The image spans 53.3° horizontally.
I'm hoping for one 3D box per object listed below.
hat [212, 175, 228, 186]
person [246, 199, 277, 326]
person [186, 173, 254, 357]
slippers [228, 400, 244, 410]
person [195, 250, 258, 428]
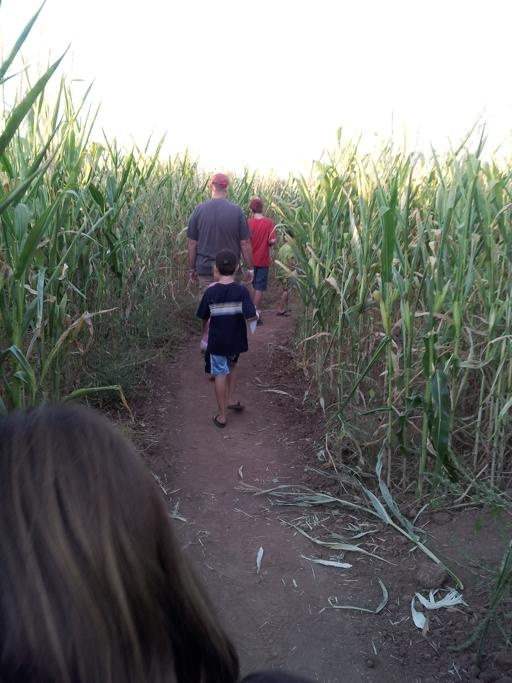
[{"bbox_3d":[-0.326,-1.423,4.518,0.139,0.119,0.122,-5,13,-8],"label":"hat"},{"bbox_3d":[0.041,-1.084,6.702,0.327,1.546,0.405,-6,20,-32],"label":"person"},{"bbox_3d":[-0.352,-0.898,4.966,0.517,1.700,0.490,6,42,2],"label":"person"},{"bbox_3d":[-0.155,0.478,3.760,0.086,0.051,0.057,-2,4,23],"label":"slippers"},{"bbox_3d":[-0.207,-0.047,3.675,0.417,1.192,0.496,-6,12,-20],"label":"person"}]
